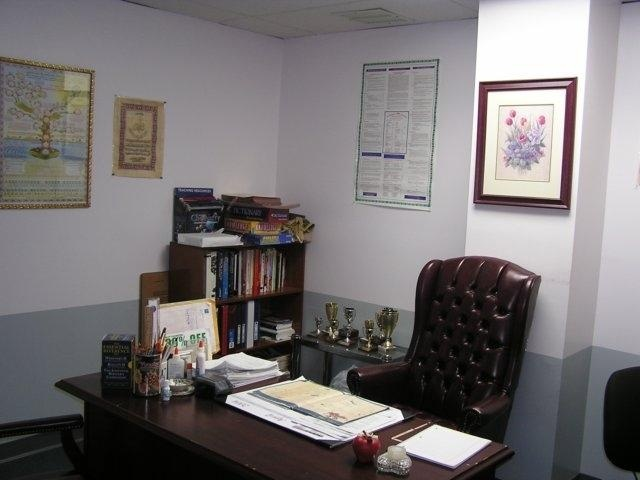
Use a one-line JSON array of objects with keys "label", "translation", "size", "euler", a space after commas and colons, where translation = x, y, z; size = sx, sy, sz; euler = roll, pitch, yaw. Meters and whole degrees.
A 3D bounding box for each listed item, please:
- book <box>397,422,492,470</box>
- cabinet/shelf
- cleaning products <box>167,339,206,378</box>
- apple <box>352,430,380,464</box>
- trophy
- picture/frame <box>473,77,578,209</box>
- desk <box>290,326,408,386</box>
[{"label": "book", "translation": [0.517, 0.850, 2.044], "size": [0.263, 0.040, 0.364], "euler": [13, 14, 42]}, {"label": "cabinet/shelf", "translation": [-0.825, 0.502, 4.433], "size": [0.454, 1.022, 1.252], "euler": [9, 9, 41]}, {"label": "cleaning products", "translation": [-0.691, 0.607, 2.489], "size": [0.179, 0.250, 0.069], "euler": [2, 0, -41]}, {"label": "apple", "translation": [0.183, 0.800, 1.886], "size": [0.094, 0.107, 0.097], "euler": [4, -6, -12]}, {"label": "trophy", "translation": [0.334, 0.746, 4.047], "size": [0.688, 0.302, 0.353], "euler": [5, 4, 43]}, {"label": "picture/frame", "translation": [1.352, -0.641, 3.267], "size": [0.591, 0.843, 0.054], "euler": [6, 20, 32]}, {"label": "desk", "translation": [0.208, 0.896, 3.934], "size": [0.784, 0.678, 0.452], "euler": [6, 5, 43]}]
